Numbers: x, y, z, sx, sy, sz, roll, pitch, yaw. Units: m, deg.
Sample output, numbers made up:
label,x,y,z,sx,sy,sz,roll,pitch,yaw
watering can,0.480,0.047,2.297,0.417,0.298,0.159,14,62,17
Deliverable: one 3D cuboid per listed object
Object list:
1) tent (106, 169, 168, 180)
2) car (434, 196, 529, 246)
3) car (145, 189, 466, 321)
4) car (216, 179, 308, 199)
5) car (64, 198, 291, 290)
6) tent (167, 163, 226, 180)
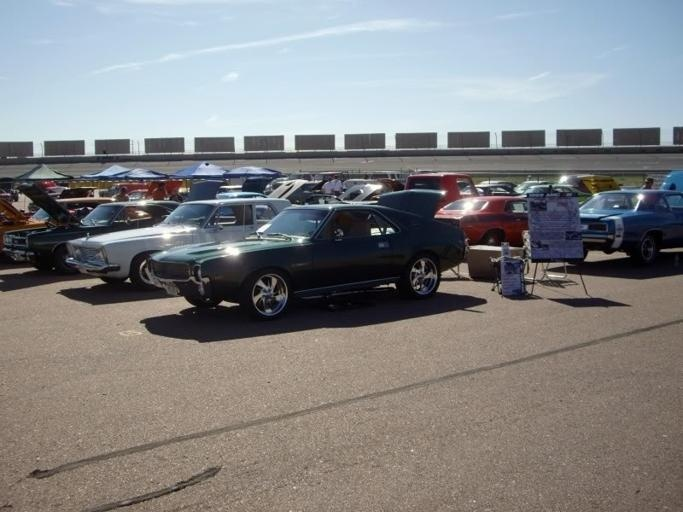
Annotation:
label,x,y,z,sx,sy,sz,roll,pitch,yaw
tent,-12.276,-4.842,26.698,2.085,0.394,1.918,2,4,20
car,4.614,-1.149,14.153,3.256,0.826,1.587,-9,11,-32
car,-0.380,-0.035,8.524,5.594,1.649,2.343,-1,0,-26
car,-4.234,-3.406,24.186,4.903,1.128,2.522,-1,1,-15
car,-2.603,-0.366,10.952,5.739,1.353,2.173,-9,-2,-7
tent,-8.150,-4.899,25.946,2.461,0.557,2.548,-5,5,-32
